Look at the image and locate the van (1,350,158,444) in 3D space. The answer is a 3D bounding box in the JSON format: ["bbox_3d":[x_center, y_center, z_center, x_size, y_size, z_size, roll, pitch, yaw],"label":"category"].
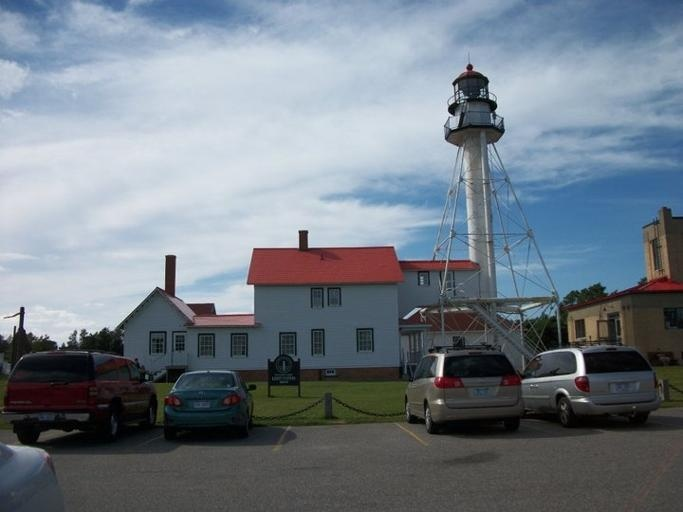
[{"bbox_3d":[-6.169,3.333,16.461,1.928,1.429,3.733,-2,-5,13],"label":"van"}]

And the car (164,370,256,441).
[{"bbox_3d":[-3.260,3.697,16.104,2.022,1.531,1.195,0,-5,-15],"label":"car"}]

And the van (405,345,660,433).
[{"bbox_3d":[4.783,3.346,16.874,5.536,2.066,2.189,-1,-5,-7],"label":"van"}]
